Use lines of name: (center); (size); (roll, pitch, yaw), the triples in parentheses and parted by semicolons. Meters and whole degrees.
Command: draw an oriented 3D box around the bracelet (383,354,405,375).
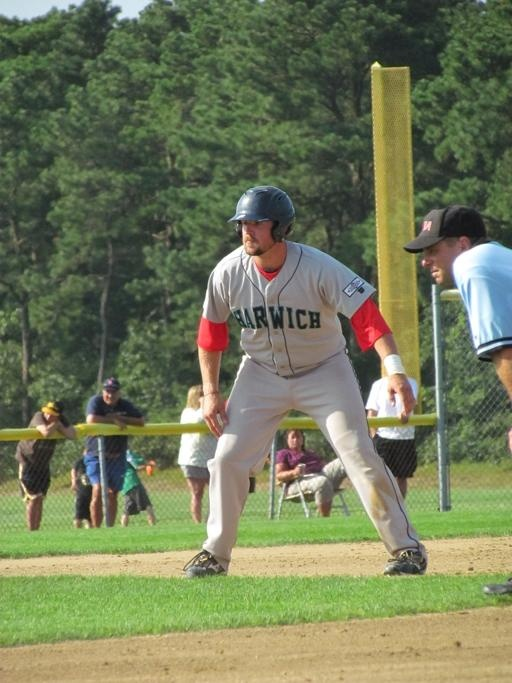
bracelet: (1.473, 0.236, 20.057); (0.202, 0.294, 0.169); (-19, -6, 5)

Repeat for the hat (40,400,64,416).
hat: (-2.767, 0.879, 24.167); (0.231, 0.134, 0.177); (27, 13, 30)

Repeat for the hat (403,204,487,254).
hat: (1.997, -1.181, 19.565); (0.697, 0.430, 0.484); (-3, 3, 1)

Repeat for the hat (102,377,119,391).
hat: (-2.015, 0.593, 24.803); (0.163, 0.164, 0.275); (14, -28, 7)

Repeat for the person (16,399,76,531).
person: (-2.902, 1.636, 24.501); (0.640, 1.531, 1.277); (-3, -1, -20)

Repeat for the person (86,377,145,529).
person: (-1.968, 1.453, 24.518); (0.784, 1.792, 0.684); (-3, -1, -10)

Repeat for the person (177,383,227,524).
person: (-0.745, 1.522, 25.047); (0.609, 2.233, 0.605); (-5, 25, 7)

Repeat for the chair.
chair: (0.718, 2.014, 25.088); (0.680, 1.014, 0.753); (-9, -13, 43)

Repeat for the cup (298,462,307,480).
cup: (0.576, 1.702, 24.682); (0.048, 0.168, 0.112); (0, -6, 43)

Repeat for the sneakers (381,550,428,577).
sneakers: (1.599, 2.382, 19.920); (0.418, 0.201, 0.233); (8, -13, -37)
